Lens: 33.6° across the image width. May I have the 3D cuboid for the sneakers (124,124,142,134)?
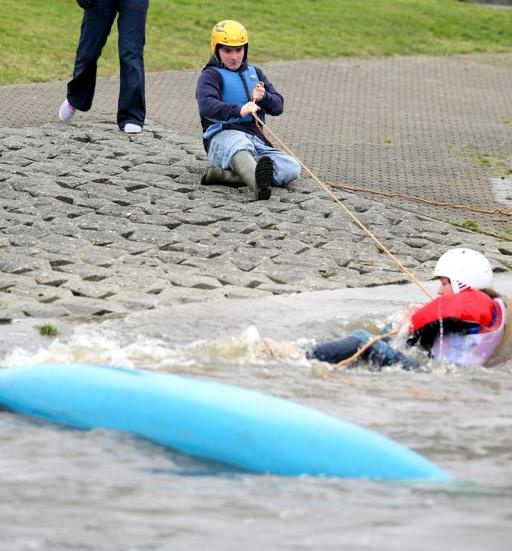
[{"bbox_3d":[-1.217,-1.434,8.259,0.192,0.110,0.168,6,14,-11],"label":"sneakers"}]

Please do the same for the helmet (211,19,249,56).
[{"bbox_3d":[-0.188,-1.942,6.817,0.276,0.217,0.288,-5,33,-13],"label":"helmet"}]

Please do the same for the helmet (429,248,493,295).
[{"bbox_3d":[0.940,-0.030,3.816,0.284,0.186,0.180,-21,2,12],"label":"helmet"}]

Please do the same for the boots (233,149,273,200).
[{"bbox_3d":[-0.029,-0.800,6.530,0.232,0.462,0.263,-4,-7,-1],"label":"boots"}]
